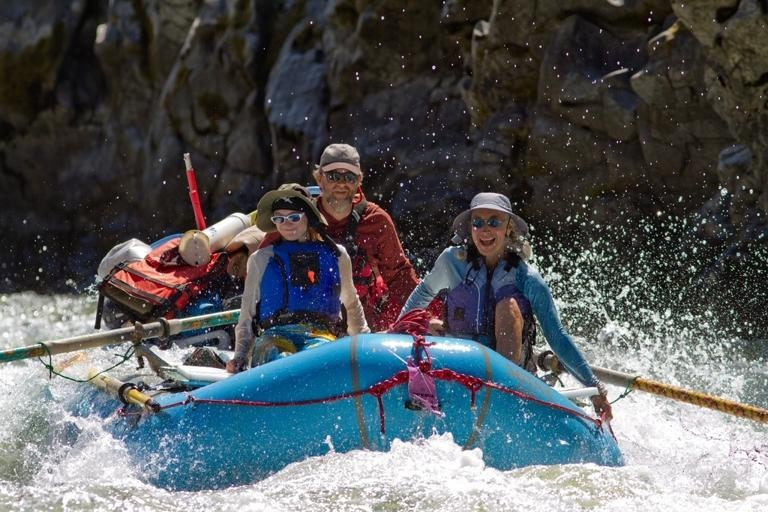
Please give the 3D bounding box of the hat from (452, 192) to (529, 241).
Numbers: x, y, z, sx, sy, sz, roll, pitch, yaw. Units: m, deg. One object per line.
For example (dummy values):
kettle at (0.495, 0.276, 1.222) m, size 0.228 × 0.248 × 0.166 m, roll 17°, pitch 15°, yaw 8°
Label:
hat at (1.329, -0.474, 13.180) m, size 0.726 × 0.807 × 0.416 m, roll -2°, pitch 56°, yaw 8°

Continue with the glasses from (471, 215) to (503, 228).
glasses at (1.121, -0.371, 11.970) m, size 0.317 × 0.150 × 0.061 m, roll 4°, pitch 19°, yaw 3°

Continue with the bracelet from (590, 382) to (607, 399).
bracelet at (2.316, 1.438, 11.808) m, size 0.117 × 0.169 × 0.058 m, roll -1°, pitch 0°, yaw -4°
